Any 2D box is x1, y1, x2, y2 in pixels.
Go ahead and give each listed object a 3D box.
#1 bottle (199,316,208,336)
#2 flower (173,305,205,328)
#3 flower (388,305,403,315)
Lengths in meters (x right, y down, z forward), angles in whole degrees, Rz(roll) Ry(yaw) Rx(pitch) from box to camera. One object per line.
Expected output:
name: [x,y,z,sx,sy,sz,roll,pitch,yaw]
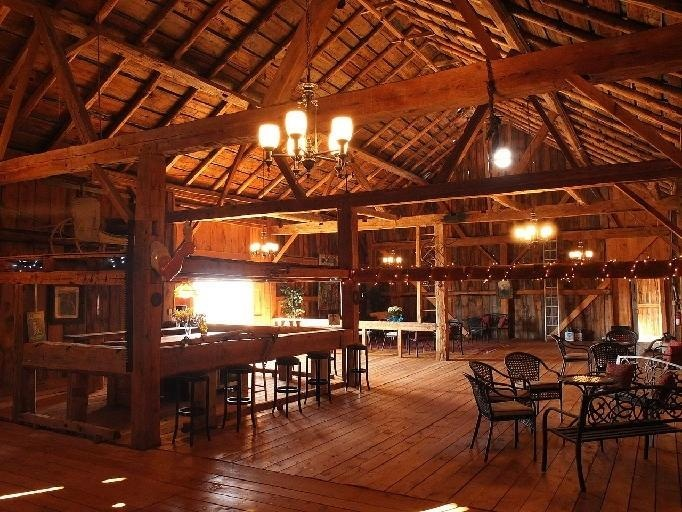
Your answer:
bottle: [-2.251,1.149,8.958,0.184,0.348,0.294,3,-7,-14]
flower: [-2.539,1.053,9.272,0.525,0.465,0.292,-1,1,-12]
flower: [1.367,1.413,14.266,0.324,0.143,0.315,-1,-4,33]
